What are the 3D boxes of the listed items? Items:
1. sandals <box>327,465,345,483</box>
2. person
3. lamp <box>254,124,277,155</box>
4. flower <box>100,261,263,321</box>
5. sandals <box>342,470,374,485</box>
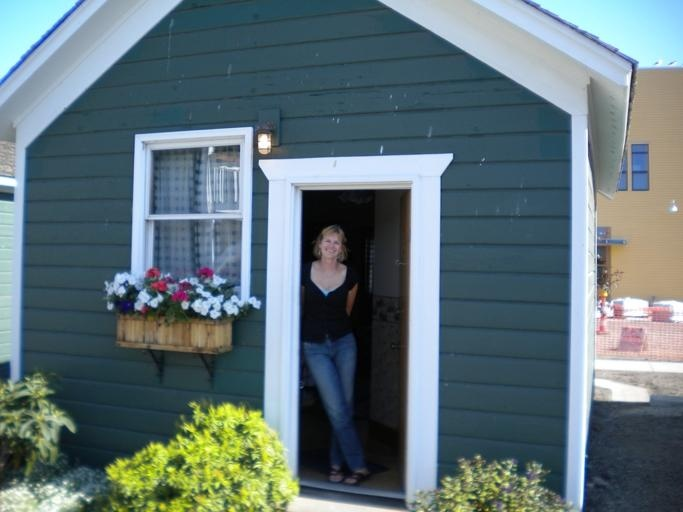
[{"bbox_3d":[-0.042,2.090,7.187,0.174,0.128,0.195,3,-1,-13],"label":"sandals"},{"bbox_3d":[-0.060,0.923,7.317,0.723,2.457,0.438,2,-1,1],"label":"person"},{"bbox_3d":[-0.737,-1.102,7.048,0.171,0.273,0.167,1,3,30],"label":"lamp"},{"bbox_3d":[-1.470,0.408,7.120,0.918,0.357,0.613,4,-7,7],"label":"flower"},{"bbox_3d":[0.132,2.108,7.127,0.104,0.080,0.291,-3,-10,29],"label":"sandals"}]
